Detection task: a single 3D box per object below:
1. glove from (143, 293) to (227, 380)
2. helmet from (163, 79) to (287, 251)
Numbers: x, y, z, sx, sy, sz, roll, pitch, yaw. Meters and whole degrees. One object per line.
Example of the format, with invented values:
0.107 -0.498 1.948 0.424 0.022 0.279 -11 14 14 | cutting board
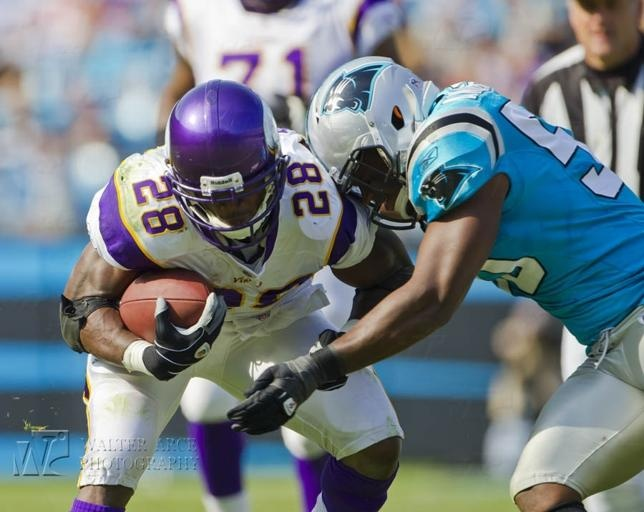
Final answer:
-0.450 0.237 3.293 0.121 0.217 0.289 -1 48 52 | glove
-0.290 -0.313 3.477 0.384 0.454 0.545 -7 59 3 | helmet
